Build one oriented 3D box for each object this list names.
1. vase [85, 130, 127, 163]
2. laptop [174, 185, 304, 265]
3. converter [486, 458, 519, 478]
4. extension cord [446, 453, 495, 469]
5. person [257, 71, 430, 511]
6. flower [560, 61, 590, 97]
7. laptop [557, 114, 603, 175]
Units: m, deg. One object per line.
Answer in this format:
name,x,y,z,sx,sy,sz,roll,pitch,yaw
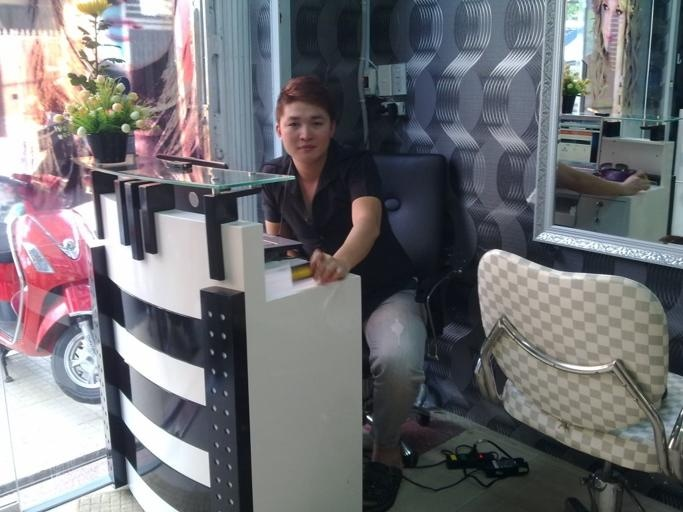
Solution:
vase,-0.916,-0.427,2.022,0.127,0.094,0.131,-2,7,-5
laptop,-0.376,-0.121,1.735,0.286,0.290,0.288,16,25,38
converter,0.738,0.990,2.428,0.097,0.031,0.074,-4,23,-2
extension cord,0.605,0.973,2.476,0.161,0.039,0.096,-1,9,-2
person,0.110,0.138,2.348,0.697,1.828,0.817,-6,13,-26
flower,0.999,-0.749,2.265,0.115,0.126,0.141,6,-8,30
laptop,1.012,-0.497,2.344,0.218,0.224,0.131,2,3,-12
